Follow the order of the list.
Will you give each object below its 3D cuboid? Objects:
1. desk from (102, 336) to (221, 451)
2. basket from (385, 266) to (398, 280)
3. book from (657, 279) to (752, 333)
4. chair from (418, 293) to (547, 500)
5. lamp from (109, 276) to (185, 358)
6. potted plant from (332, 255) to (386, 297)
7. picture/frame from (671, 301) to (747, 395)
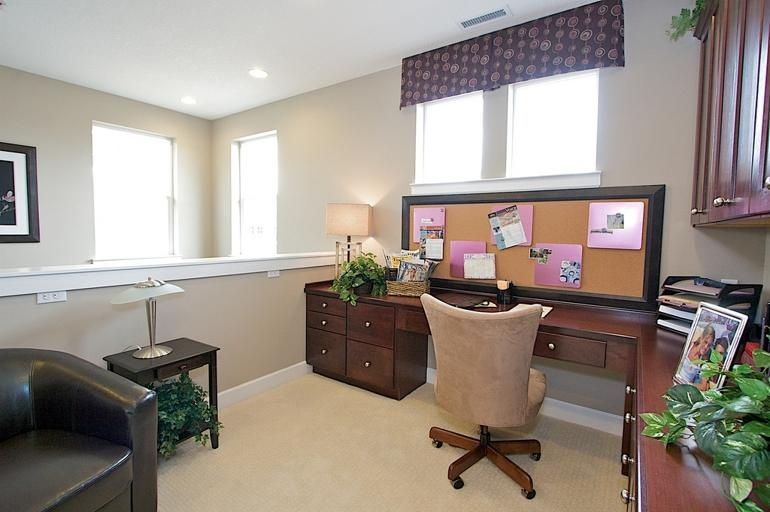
[{"bbox_3d":[-1.611,1.064,3.722,0.563,0.763,0.687,3,7,28],"label":"desk"},{"bbox_3d":[0.065,0.162,4.590,0.102,0.085,0.110,1,6,-1],"label":"basket"},{"bbox_3d":[2.094,0.296,3.392,0.514,0.368,0.362,2,0,-32],"label":"book"},{"bbox_3d":[0.707,0.909,3.684,0.874,1.257,0.886,3,9,17],"label":"chair"},{"bbox_3d":[-1.657,0.428,3.615,0.449,0.545,0.453,-3,5,-14],"label":"lamp"},{"bbox_3d":[-0.192,0.179,4.586,0.378,0.252,0.388,1,7,16],"label":"potted plant"},{"bbox_3d":[1.671,0.481,2.640,0.055,0.574,0.412,12,1,-6],"label":"picture/frame"}]
